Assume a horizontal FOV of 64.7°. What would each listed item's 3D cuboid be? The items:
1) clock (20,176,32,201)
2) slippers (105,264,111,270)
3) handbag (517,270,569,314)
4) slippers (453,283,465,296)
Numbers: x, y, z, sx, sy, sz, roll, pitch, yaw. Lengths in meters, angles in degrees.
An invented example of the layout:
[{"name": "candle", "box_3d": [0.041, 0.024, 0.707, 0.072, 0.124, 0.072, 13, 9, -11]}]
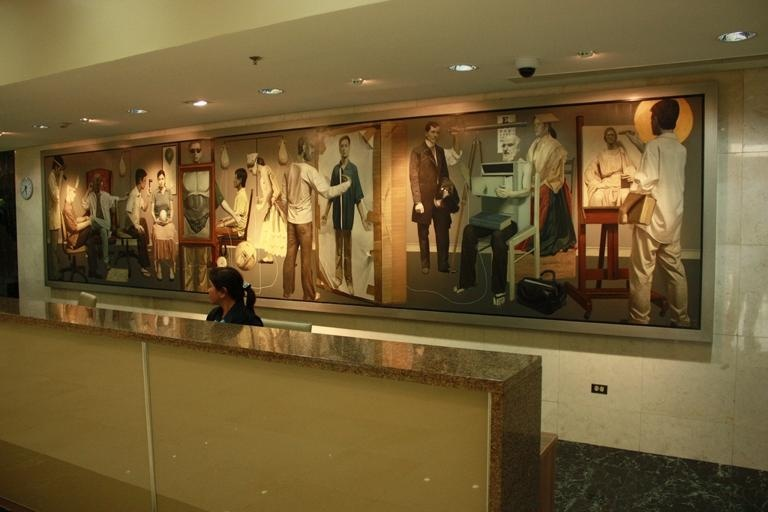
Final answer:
[{"name": "clock", "box_3d": [-6.049, -1.176, 10.271, 0.389, 0.381, 0.040, 7, 9, 42]}, {"name": "slippers", "box_3d": [-4.259, 0.137, 9.380, 0.047, 0.083, 0.029, -2, -4, 1]}, {"name": "handbag", "box_3d": [1.698, 0.322, 6.401, 0.367, 0.444, 0.496, 5, 5, -44]}, {"name": "slippers", "box_3d": [0.821, 0.344, 6.654, 0.118, 0.067, 0.040, 7, 11, 43]}]
